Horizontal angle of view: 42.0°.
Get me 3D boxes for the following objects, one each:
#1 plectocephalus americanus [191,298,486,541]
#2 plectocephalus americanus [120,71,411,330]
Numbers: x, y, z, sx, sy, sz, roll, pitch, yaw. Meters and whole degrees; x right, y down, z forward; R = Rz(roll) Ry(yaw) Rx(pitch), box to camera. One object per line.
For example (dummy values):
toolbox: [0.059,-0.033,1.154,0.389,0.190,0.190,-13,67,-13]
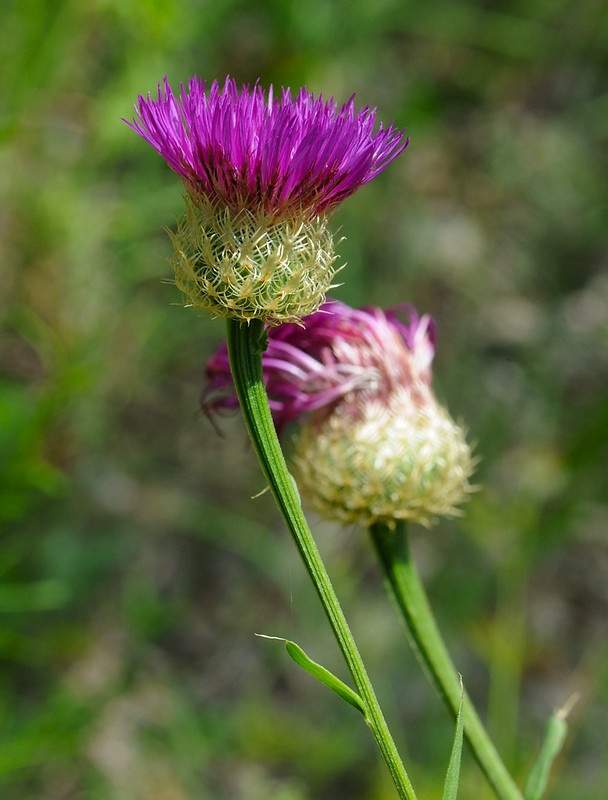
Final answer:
plectocephalus americanus: [0.032,0.030,0.910,0.241,0.154,0.271,-14,61,-16]
plectocephalus americanus: [-0.043,-0.154,0.655,0.217,0.188,0.166,14,98,35]
